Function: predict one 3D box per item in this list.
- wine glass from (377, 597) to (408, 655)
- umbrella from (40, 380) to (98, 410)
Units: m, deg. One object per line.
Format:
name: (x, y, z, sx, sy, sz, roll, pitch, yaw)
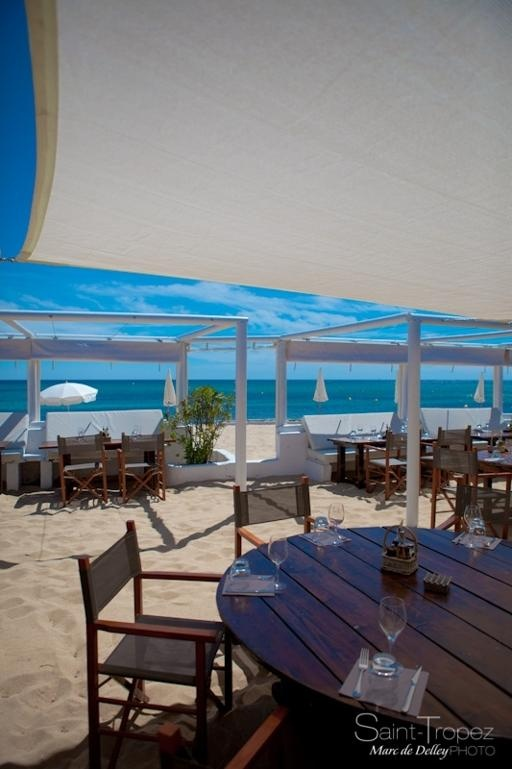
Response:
wine glass: (0.424, 0.727, 1.596, 0.075, 0.177, 0.216, 0, 1, 13)
umbrella: (-3.213, 0.165, 8.800, 0.774, 0.403, 0.799, 0, 0, 7)
